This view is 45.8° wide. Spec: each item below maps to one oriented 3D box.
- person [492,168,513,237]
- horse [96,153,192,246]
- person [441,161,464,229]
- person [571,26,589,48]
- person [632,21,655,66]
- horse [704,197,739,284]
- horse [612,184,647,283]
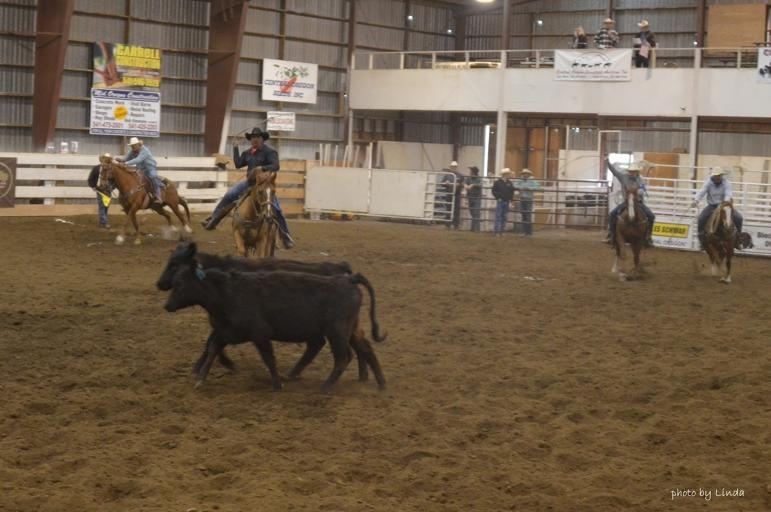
[{"bbox_3d":[3.563,-1.671,27.723,0.675,1.920,1.077,2,8,5],"label":"person"},{"bbox_3d":[-5.713,-1.300,22.052,0.720,1.979,3.021,-7,-3,31],"label":"horse"},{"bbox_3d":[2.189,-1.842,29.244,0.380,1.732,0.827,4,2,-39],"label":"person"},{"bbox_3d":[6.376,-7.102,29.837,0.346,0.736,0.760,2,8,6],"label":"person"},{"bbox_3d":[8.343,-6.829,29.406,0.673,1.580,1.500,3,8,15],"label":"person"},{"bbox_3d":[7.545,-0.363,20.312,0.697,1.748,1.056,1,8,-4],"label":"horse"},{"bbox_3d":[5.433,-0.539,20.235,0.731,1.971,1.103,3,8,14],"label":"horse"}]
